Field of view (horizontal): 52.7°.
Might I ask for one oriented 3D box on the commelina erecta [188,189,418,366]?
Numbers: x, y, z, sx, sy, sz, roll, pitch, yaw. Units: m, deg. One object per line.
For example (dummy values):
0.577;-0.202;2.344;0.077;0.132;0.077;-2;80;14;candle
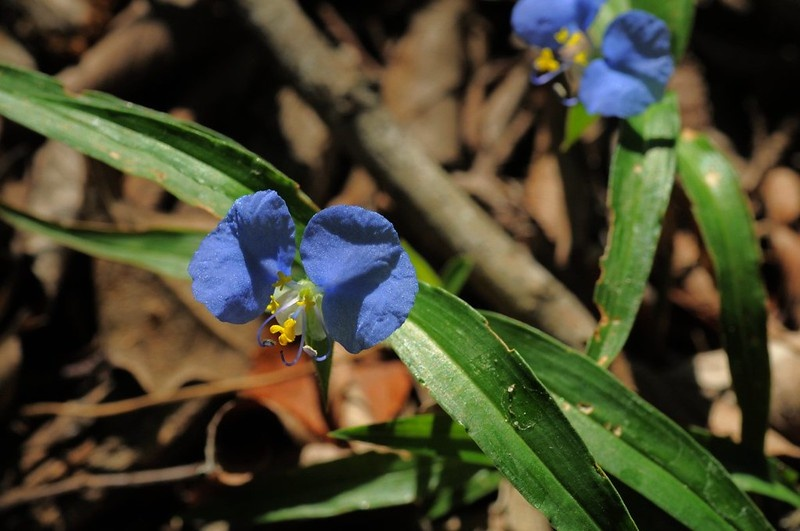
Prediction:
-0.409;0.157;3.739;0.970;1.007;0.551;12;68;5;commelina erecta
